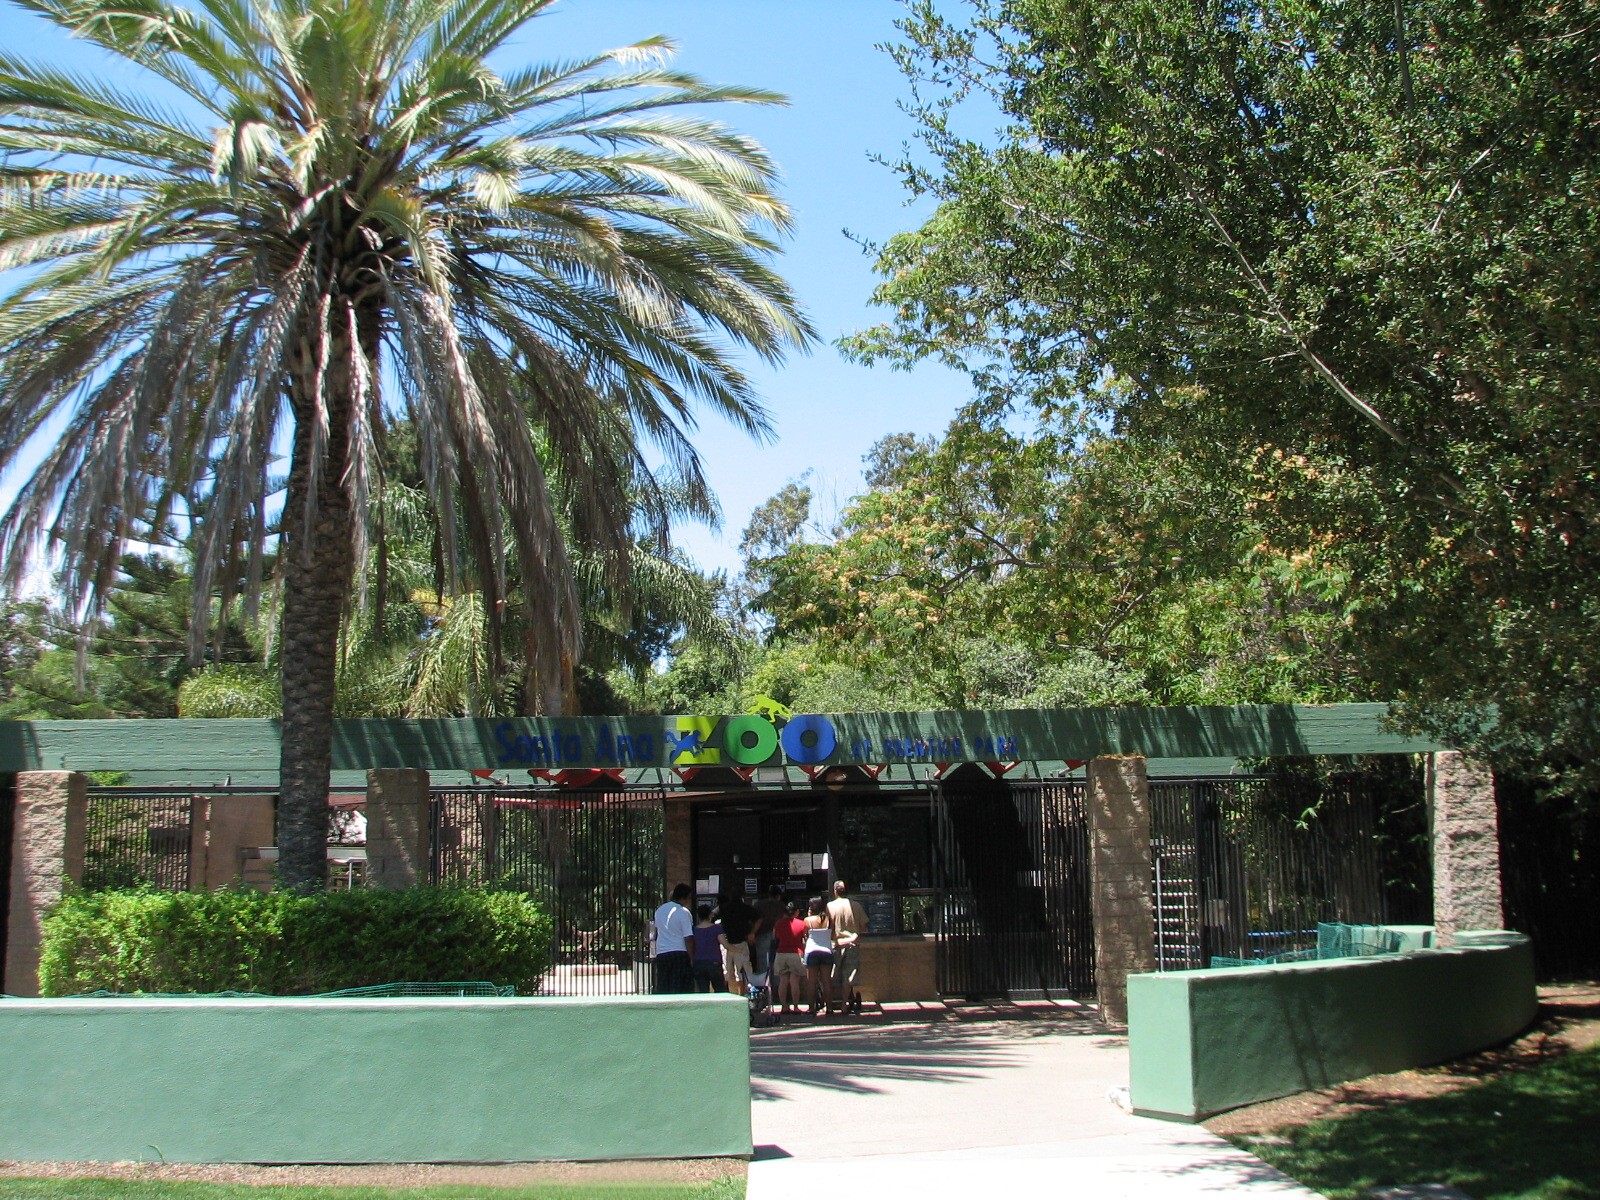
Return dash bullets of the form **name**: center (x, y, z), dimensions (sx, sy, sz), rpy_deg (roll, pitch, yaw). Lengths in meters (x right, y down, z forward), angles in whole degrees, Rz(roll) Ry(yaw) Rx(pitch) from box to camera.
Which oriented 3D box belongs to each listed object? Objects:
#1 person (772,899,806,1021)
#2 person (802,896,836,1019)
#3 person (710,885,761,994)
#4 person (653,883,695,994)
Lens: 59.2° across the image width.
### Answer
- **person**: center (-0.198, 5.720, 22.504), dimensions (0.529, 1.680, 1.928), rpy_deg (-4, -14, -2)
- **person**: center (0.288, 5.454, 21.493), dimensions (0.502, 1.707, 1.371), rpy_deg (-4, -13, -2)
- **person**: center (-0.937, 5.200, 21.344), dimensions (0.570, 1.517, 2.035), rpy_deg (-4, -14, -4)
- **person**: center (-1.641, 4.305, 18.020), dimensions (0.554, 1.389, 2.168), rpy_deg (-3, -14, -6)
